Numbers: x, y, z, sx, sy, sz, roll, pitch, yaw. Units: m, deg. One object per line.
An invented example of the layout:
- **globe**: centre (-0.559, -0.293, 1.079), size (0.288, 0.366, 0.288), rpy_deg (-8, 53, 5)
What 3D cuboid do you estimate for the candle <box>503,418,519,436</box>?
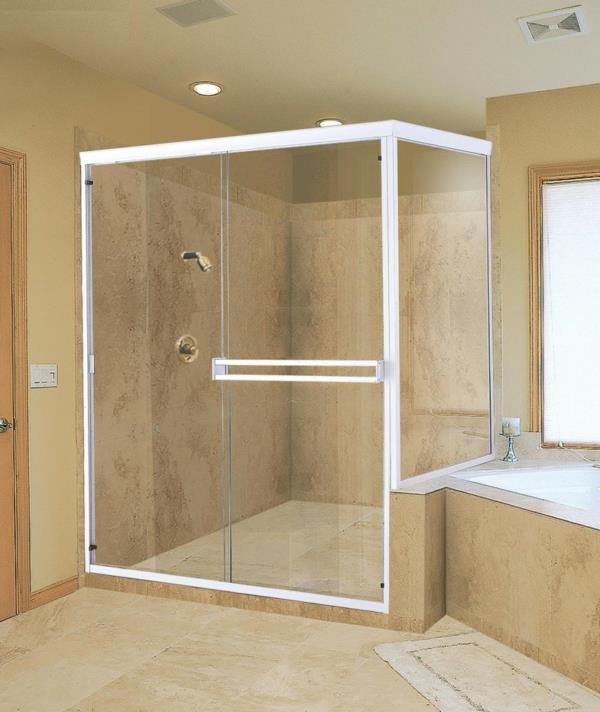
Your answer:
- **candle**: centre (1.005, 0.345, 3.390), size (0.075, 0.085, 0.074), rpy_deg (1, 3, 14)
